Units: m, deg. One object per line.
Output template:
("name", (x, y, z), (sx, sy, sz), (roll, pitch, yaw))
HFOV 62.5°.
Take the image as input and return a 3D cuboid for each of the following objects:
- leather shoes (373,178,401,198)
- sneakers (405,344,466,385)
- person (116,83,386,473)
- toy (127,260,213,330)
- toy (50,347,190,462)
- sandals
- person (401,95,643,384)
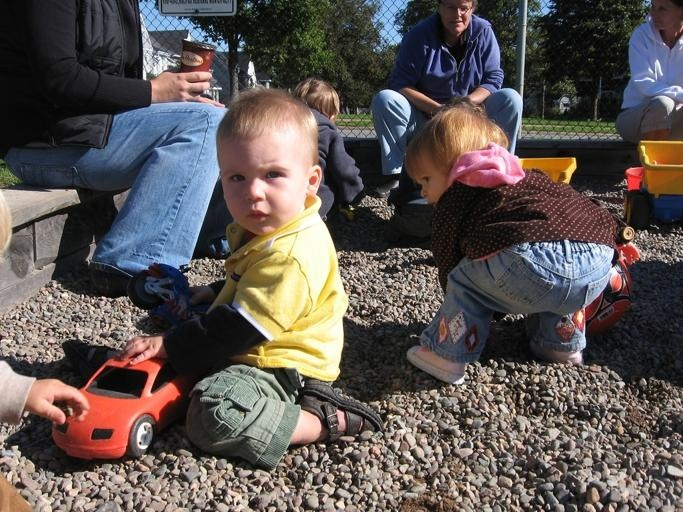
("leather shoes", (0.369, -0.524, 4.723), (0.227, 0.092, 0.129), (-33, 15, 15))
("sneakers", (0.397, 0.454, 2.390), (0.251, 0.121, 0.110), (31, 30, 35))
("person", (-0.253, 0.055, 2.050), (0.843, 1.146, 0.712), (5, 23, 4))
("toy", (-0.806, 0.185, 2.643), (0.353, 0.296, 0.113), (-13, -17, 12))
("toy", (-0.745, 0.509, 1.947), (0.232, 0.177, 0.453), (17, 17, 15))
("sandals", (-0.011, 0.577, 2.127), (0.312, 0.179, 0.117), (30, 27, 2))
("person", (0.648, -0.146, 2.631), (0.928, 1.287, 1.071), (-17, 16, -34))
